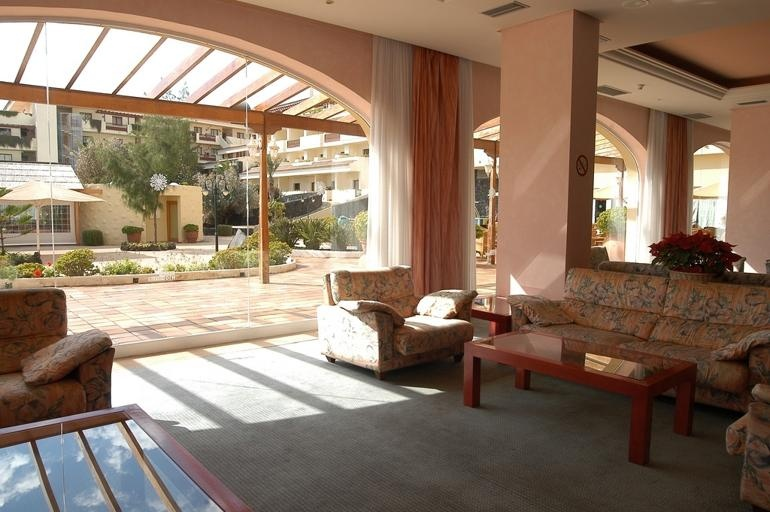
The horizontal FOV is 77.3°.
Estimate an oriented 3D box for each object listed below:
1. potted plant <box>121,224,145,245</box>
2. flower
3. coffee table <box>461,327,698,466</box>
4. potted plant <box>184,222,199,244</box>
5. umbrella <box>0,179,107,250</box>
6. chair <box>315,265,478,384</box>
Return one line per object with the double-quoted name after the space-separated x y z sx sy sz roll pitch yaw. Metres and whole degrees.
-2.943 -0.255 5.650 0.233 0.219 0.181 -2 3 -34 "potted plant"
3.321 -0.027 5.110 0.632 0.372 0.631 -1 7 -20 "flower"
1.695 1.106 4.241 1.713 0.592 0.968 9 13 36 "coffee table"
-2.374 -0.275 5.939 0.219 0.250 0.195 1 4 0 "potted plant"
-3.609 -0.448 5.190 0.645 0.437 0.698 2 4 -4 "umbrella"
0.152 0.729 5.532 1.309 1.075 1.618 2 2 40 "chair"
